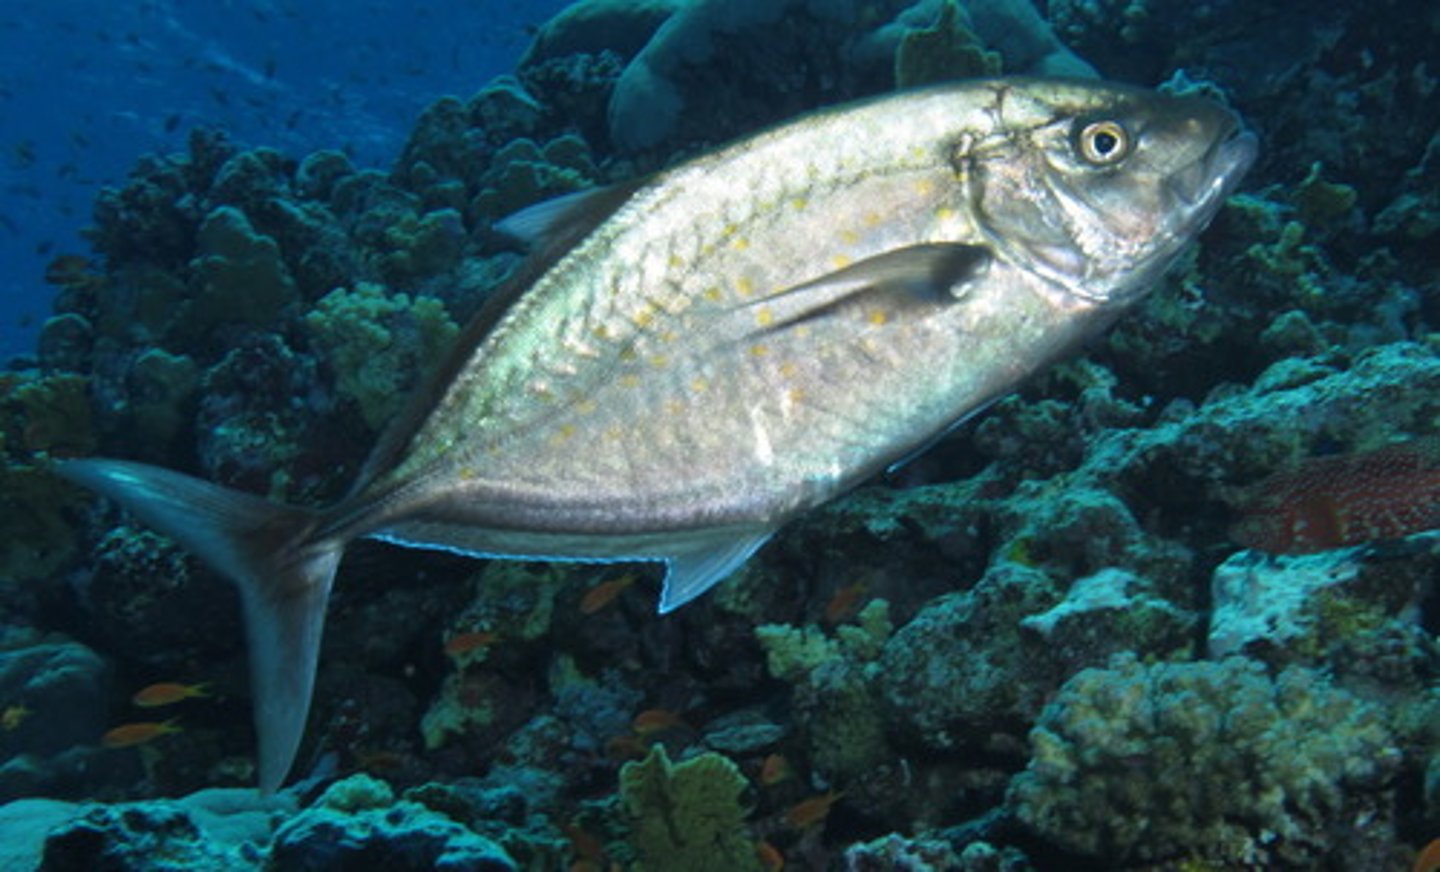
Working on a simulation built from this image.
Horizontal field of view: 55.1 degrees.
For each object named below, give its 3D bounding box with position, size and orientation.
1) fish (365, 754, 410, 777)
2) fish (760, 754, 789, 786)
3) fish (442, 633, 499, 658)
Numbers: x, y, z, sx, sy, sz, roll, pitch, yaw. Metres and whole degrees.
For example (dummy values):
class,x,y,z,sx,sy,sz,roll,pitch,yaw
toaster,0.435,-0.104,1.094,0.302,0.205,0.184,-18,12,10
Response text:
class,x,y,z,sx,sy,sz,roll,pitch,yaw
fish,-4.047,4.012,16.840,0.353,0.089,0.357,13,9,36
fish,0.635,3.865,15.915,0.469,0.195,0.052,-42,12,-36
fish,-2.973,2.549,16.766,0.633,0.128,0.254,-6,23,3
